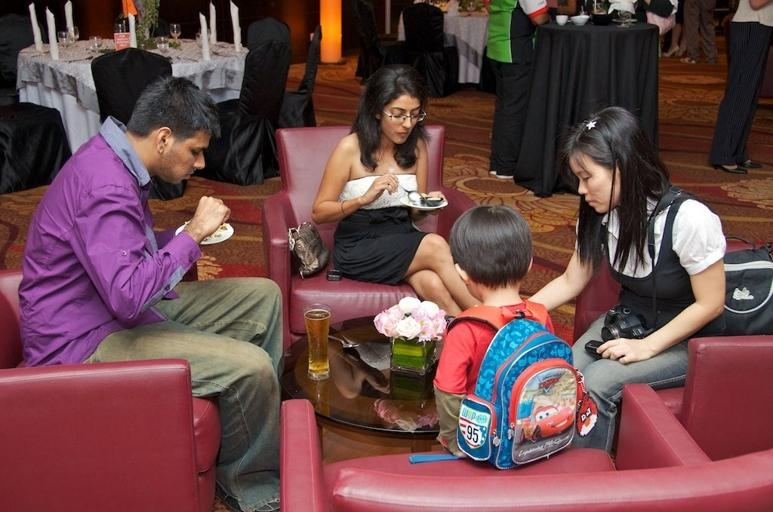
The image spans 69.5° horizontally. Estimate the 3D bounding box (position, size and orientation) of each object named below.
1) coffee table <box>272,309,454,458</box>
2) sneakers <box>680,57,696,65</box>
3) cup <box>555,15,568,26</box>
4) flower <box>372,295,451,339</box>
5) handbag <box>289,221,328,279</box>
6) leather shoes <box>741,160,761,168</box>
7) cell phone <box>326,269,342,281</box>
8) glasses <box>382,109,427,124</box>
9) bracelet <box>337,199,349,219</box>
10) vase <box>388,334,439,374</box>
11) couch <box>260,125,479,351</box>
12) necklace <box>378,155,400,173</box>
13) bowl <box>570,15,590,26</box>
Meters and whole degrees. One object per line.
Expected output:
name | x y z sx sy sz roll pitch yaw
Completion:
coffee table | -0.095 0.472 2.106 0.517 0.549 0.528 -2 40 -2
sneakers | 5.640 -3.654 10.445 0.271 0.119 0.127 3 13 18
cup | 1.487 -1.994 4.747 0.099 0.073 0.093 -1 13 0
flower | 0.093 0.231 2.065 0.179 0.094 0.195 16 27 28
handbag | -0.402 -0.022 2.821 0.117 0.216 0.191 -15 36 19
leather shoes | 3.619 -0.915 5.524 0.230 0.094 0.083 -2 10 1
cell phone | -0.263 0.100 2.831 0.075 0.044 0.070 -2 21 -9
glasses | 0.127 -0.722 2.904 0.130 0.081 0.300 18 26 36
bracelet | -0.215 -0.249 2.938 0.078 0.061 0.079 -3 31 -1
vase | 0.097 0.378 2.176 0.145 0.144 0.147 1 -8 16
couch | -0.171 -0.106 3.234 1.117 1.483 1.178 -2 23 -8
necklace | 0.006 -0.490 3.002 0.094 0.091 0.022 9 -5 -27
bowl | 1.648 -1.991 4.699 0.112 0.046 0.093 -4 13 -16
